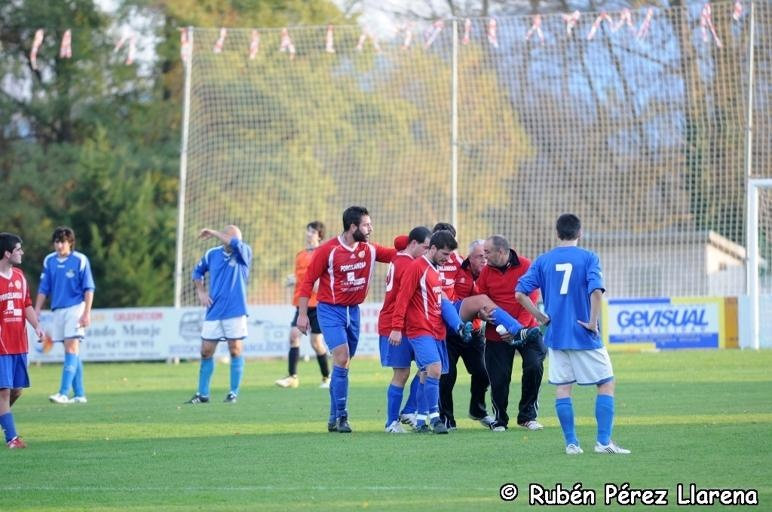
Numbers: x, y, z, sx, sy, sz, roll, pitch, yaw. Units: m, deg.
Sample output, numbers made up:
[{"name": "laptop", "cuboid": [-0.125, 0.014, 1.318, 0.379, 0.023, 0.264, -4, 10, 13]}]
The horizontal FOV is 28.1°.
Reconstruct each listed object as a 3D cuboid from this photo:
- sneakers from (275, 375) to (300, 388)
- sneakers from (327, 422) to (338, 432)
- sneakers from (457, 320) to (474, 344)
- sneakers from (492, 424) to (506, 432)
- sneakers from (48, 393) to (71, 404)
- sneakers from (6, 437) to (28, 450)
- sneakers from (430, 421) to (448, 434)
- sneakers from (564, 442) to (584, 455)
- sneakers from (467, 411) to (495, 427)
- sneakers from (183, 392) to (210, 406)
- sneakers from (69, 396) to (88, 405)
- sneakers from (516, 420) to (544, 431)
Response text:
[{"name": "sneakers", "cuboid": [-2.302, 2.964, 36.202, 0.555, 0.293, 0.230, 2, -1, -6]}, {"name": "sneakers", "cuboid": [-1.104, 3.507, 31.636, 0.204, 0.219, 0.150, 2, -1, -7]}, {"name": "sneakers", "cuboid": [1.617, 1.531, 31.325, 0.193, 0.525, 0.222, 5, -7, -29]}, {"name": "sneakers", "cuboid": [2.291, 3.501, 31.436, 0.307, 0.132, 0.181, -1, -3, 4]}, {"name": "sneakers", "cuboid": [-7.287, 3.200, 34.517, 0.508, 0.247, 0.194, 10, 17, -9]}, {"name": "sneakers", "cuboid": [-7.352, 3.730, 30.783, 0.343, 0.169, 0.185, -7, 0, 36]}, {"name": "sneakers", "cuboid": [1.077, 3.469, 31.322, 0.337, 0.285, 0.270, -1, -3, 1]}, {"name": "sneakers", "cuboid": [3.612, 3.732, 29.831, 0.150, 0.169, 0.360, 1, 1, 25]}, {"name": "sneakers", "cuboid": [1.941, 3.359, 31.840, 0.551, 0.273, 0.213, 7, 5, 8]}, {"name": "sneakers", "cuboid": [-4.194, 3.200, 34.290, 0.591, 0.271, 0.210, 2, -4, -2]}, {"name": "sneakers", "cuboid": [-6.910, 3.246, 34.691, 0.336, 0.160, 0.162, 8, 13, -7]}, {"name": "sneakers", "cuboid": [2.934, 3.463, 31.506, 0.519, 0.227, 0.197, -2, -3, 16]}]
